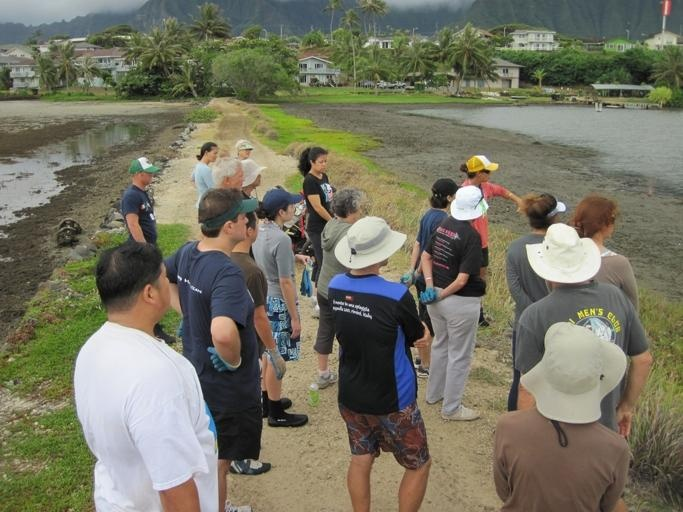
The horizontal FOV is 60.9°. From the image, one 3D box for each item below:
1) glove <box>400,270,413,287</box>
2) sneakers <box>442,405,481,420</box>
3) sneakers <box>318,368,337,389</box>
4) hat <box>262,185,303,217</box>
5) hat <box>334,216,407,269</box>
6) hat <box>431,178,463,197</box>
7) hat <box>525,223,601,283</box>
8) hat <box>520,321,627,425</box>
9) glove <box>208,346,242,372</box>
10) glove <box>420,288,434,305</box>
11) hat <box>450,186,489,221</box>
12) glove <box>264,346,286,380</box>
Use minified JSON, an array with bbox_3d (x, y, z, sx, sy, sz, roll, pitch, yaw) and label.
[{"bbox_3d":[0.849,0.294,7.391,0.094,0.214,0.124,21,5,-26],"label":"glove"},{"bbox_3d":[1.397,1.819,6.777,0.456,0.214,0.169,-2,8,-4],"label":"sneakers"},{"bbox_3d":[-0.185,1.529,7.362,0.130,0.149,0.314,2,14,15],"label":"sneakers"},{"bbox_3d":[-0.707,-0.616,6.567,0.415,0.219,0.261,-38,27,-16],"label":"hat"},{"bbox_3d":[0.258,-0.140,5.121,0.472,0.195,0.537,16,51,41],"label":"hat"},{"bbox_3d":[1.246,-0.859,7.039,0.208,0.170,0.281,19,42,39],"label":"hat"},{"bbox_3d":[1.842,-0.086,4.775,0.518,0.250,0.644,0,31,20],"label":"hat"},{"bbox_3d":[1.660,0.715,4.131,0.665,0.328,0.834,17,46,33],"label":"hat"},{"bbox_3d":[-0.992,0.859,4.957,0.224,0.241,0.081,14,28,18],"label":"glove"},{"bbox_3d":[0.990,0.442,6.505,0.125,0.168,0.063,8,15,34],"label":"glove"},{"bbox_3d":[1.434,-0.597,6.578,0.334,0.229,0.433,3,32,21],"label":"hat"},{"bbox_3d":[-0.643,1.048,5.645,0.132,0.351,0.244,-21,25,-28],"label":"glove"}]
